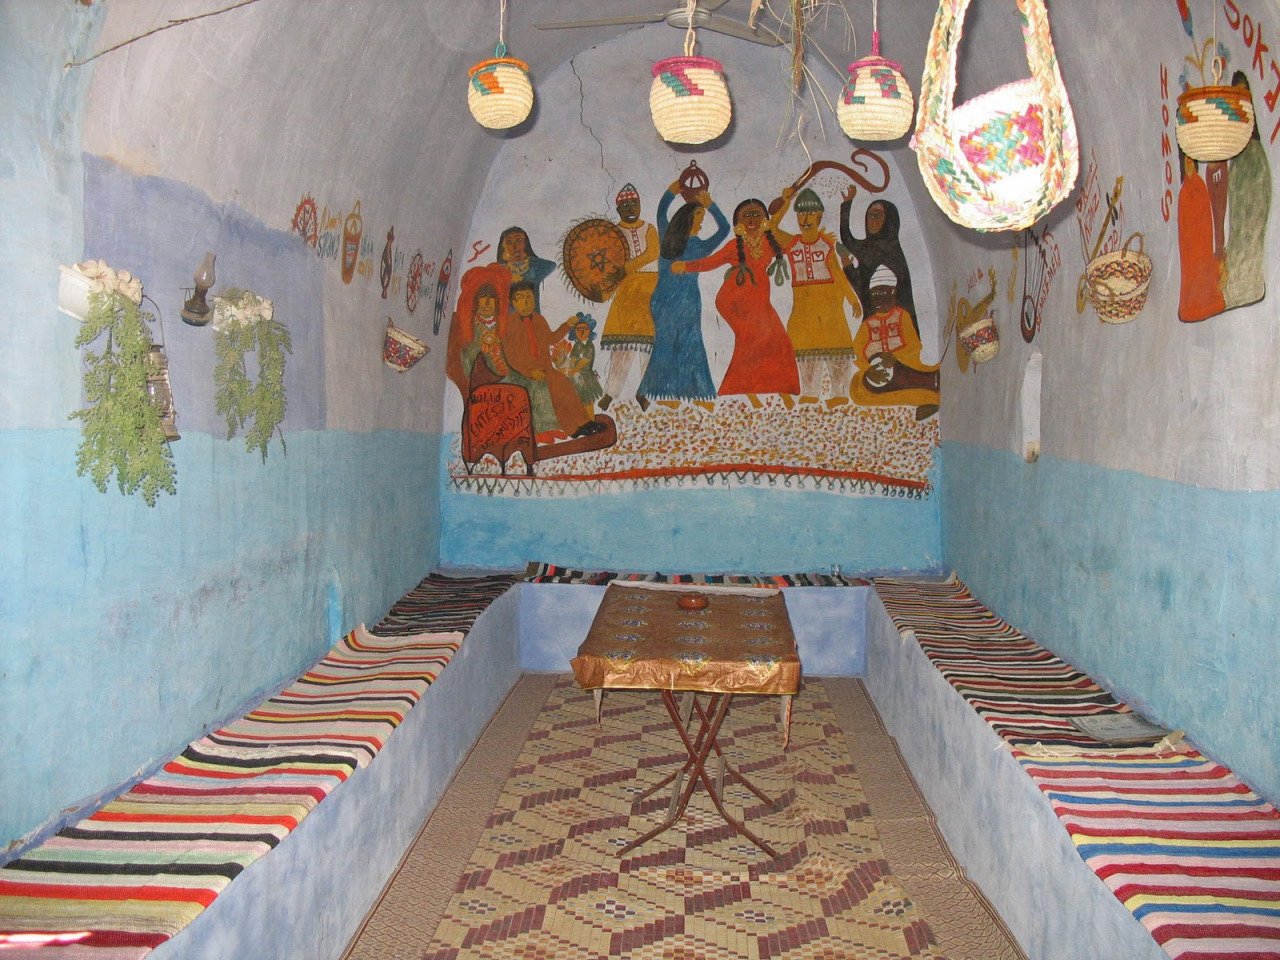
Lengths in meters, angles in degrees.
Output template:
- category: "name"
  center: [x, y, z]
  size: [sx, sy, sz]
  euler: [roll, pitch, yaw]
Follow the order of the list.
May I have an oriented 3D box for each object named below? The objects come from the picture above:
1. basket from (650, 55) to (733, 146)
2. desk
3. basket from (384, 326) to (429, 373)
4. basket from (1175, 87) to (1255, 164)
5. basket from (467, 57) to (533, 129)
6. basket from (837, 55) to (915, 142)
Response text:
- category: "basket"
  center: [0.197, -1.536, 3.641]
  size: [0.296, 0.319, 0.178]
  euler: [0, 8, 0]
- category: "desk"
  center: [0.331, 1.454, 5.432]
  size: [1.060, 1.306, 1.837]
  euler: [-1, 3, 4]
- category: "basket"
  center: [-1.633, -0.957, 6.353]
  size: [0.280, 0.254, 0.243]
  euler: [10, 16, -36]
- category: "basket"
  center: [2.190, -1.349, 3.560]
  size: [0.254, 0.239, 0.294]
  euler: [0, 13, 8]
- category: "basket"
  center: [-0.602, -1.714, 3.988]
  size: [0.249, 0.291, 0.187]
  euler: [-2, 8, -12]
- category: "basket"
  center: [0.925, -1.515, 3.637]
  size: [0.286, 0.334, 0.312]
  euler: [-1, 19, -1]
